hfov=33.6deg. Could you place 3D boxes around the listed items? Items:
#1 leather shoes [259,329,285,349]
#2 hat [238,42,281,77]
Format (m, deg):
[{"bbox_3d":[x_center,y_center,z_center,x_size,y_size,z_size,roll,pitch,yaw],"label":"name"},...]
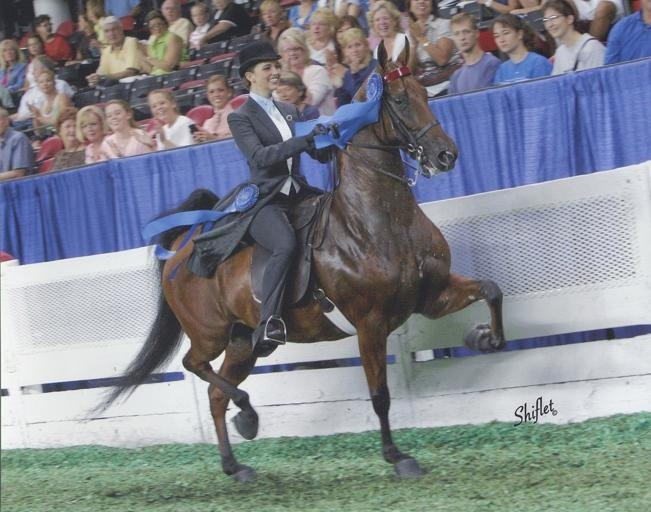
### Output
[{"bbox_3d":[-0.263,0.399,5.265,0.131,0.072,0.080,0,-9,8],"label":"leather shoes"},{"bbox_3d":[-0.348,-0.988,5.356,0.200,0.064,0.156,-15,2,27],"label":"hat"}]
